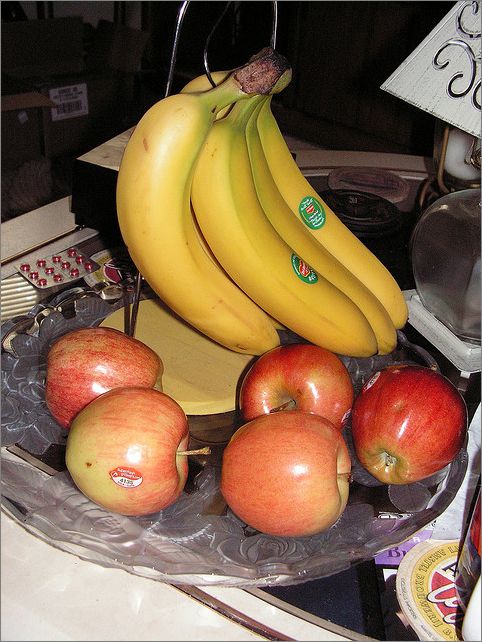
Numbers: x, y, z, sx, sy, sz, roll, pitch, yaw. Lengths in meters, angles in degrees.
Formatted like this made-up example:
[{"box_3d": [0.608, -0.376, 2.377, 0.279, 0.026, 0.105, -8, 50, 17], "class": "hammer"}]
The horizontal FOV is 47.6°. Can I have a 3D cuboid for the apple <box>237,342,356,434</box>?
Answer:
[{"box_3d": [0.060, 0.065, 0.617, 0.102, 0.093, 0.098, -12, 13, 1], "class": "apple"}]

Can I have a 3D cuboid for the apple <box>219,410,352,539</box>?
[{"box_3d": [0.045, 0.137, 0.522, 0.125, 0.097, 0.103, 4, -10, 7], "class": "apple"}]

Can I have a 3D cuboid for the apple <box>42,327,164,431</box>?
[{"box_3d": [-0.133, 0.058, 0.571, 0.080, 0.080, 0.091, -15, 58, 18], "class": "apple"}]
